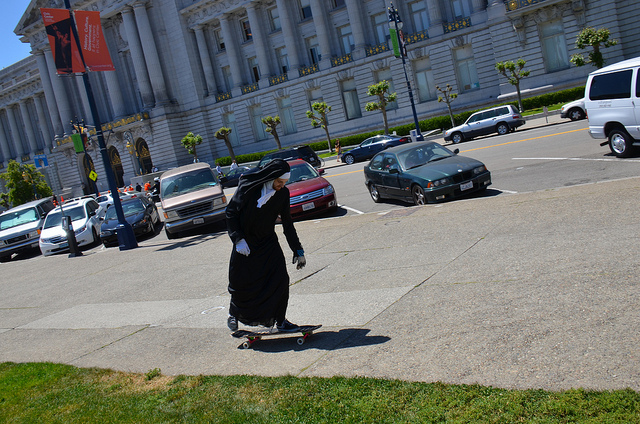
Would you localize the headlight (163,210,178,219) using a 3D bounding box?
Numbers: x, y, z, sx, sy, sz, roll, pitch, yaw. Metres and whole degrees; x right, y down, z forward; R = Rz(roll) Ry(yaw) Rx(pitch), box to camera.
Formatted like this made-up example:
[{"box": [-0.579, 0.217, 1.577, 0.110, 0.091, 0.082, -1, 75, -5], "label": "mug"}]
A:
[{"box": [-5.821, 0.080, 27.304, 0.595, 0.223, 0.109, -8, 10, 24], "label": "headlight"}]

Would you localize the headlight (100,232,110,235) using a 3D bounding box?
[{"box": [-9.082, 0.876, 29.605, 0.528, 0.084, 0.086, -7, 10, 30], "label": "headlight"}]

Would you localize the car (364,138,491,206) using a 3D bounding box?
[{"box": [3.501, -1.481, 25.124, 2.481, 1.893, 5.788, -18, 11, -20], "label": "car"}]

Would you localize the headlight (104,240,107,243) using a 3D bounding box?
[{"box": [-9.074, 1.244, 29.715, 0.178, 0.118, 0.056, -5, 12, 41], "label": "headlight"}]

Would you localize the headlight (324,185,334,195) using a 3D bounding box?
[{"box": [0.351, -0.835, 25.417, 0.188, 0.285, 0.593, -8, 9, 26], "label": "headlight"}]

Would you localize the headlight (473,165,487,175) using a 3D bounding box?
[{"box": [5.215, -1.403, 22.874, 0.359, 0.105, 0.227, -25, 27, -18], "label": "headlight"}]

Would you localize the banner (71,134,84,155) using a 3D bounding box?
[{"box": [-11.741, -3.378, 34.051, 0.380, 0.690, 2.547, -15, 9, -17], "label": "banner"}]

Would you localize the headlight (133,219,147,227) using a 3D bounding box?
[{"box": [-7.701, 0.443, 30.209, 0.196, 0.182, 0.634, -4, 12, 43], "label": "headlight"}]

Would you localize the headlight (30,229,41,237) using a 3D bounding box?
[{"box": [-13.330, 0.957, 32.898, 0.179, 0.242, 0.551, -5, 11, 38], "label": "headlight"}]
